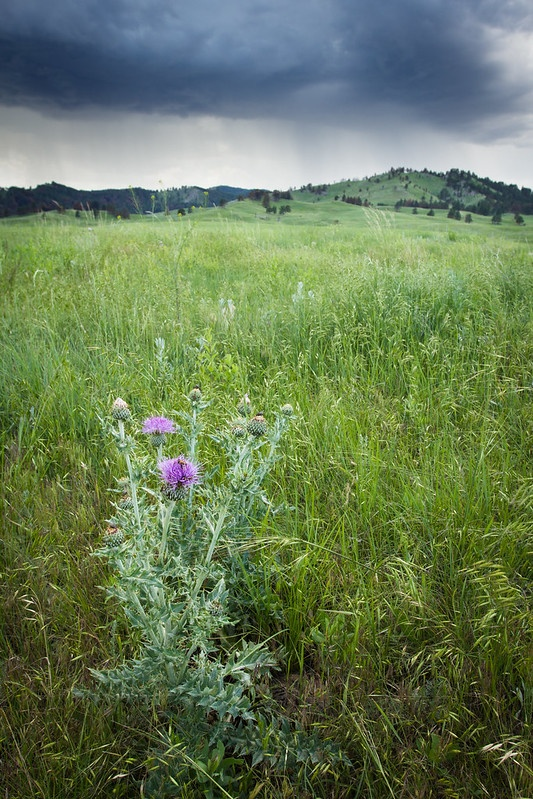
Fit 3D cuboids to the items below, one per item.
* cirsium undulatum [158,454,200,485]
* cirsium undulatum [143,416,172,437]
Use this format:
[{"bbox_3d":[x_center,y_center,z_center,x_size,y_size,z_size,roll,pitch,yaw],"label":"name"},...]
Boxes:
[{"bbox_3d":[-0.223,0.164,1.304,0.067,0.054,0.076,6,14,3],"label":"cirsium undulatum"},{"bbox_3d":[-0.294,0.071,1.465,0.060,0.050,0.062,7,5,36],"label":"cirsium undulatum"}]
